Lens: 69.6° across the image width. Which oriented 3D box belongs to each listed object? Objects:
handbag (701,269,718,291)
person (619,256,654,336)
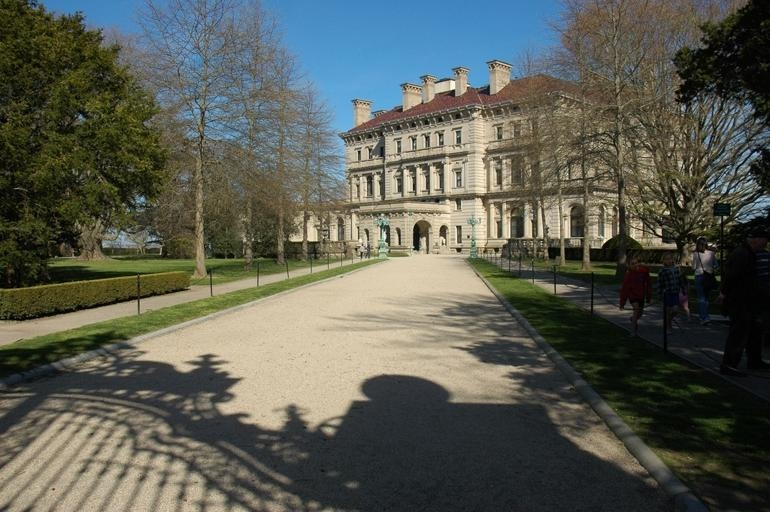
[{"bbox_3d":[8.803,0.681,15.072,0.498,0.582,0.409,-1,7,3],"label":"handbag"},{"bbox_3d":[6.168,0.951,13.637,0.635,1.970,1.512,2,8,25],"label":"person"}]
